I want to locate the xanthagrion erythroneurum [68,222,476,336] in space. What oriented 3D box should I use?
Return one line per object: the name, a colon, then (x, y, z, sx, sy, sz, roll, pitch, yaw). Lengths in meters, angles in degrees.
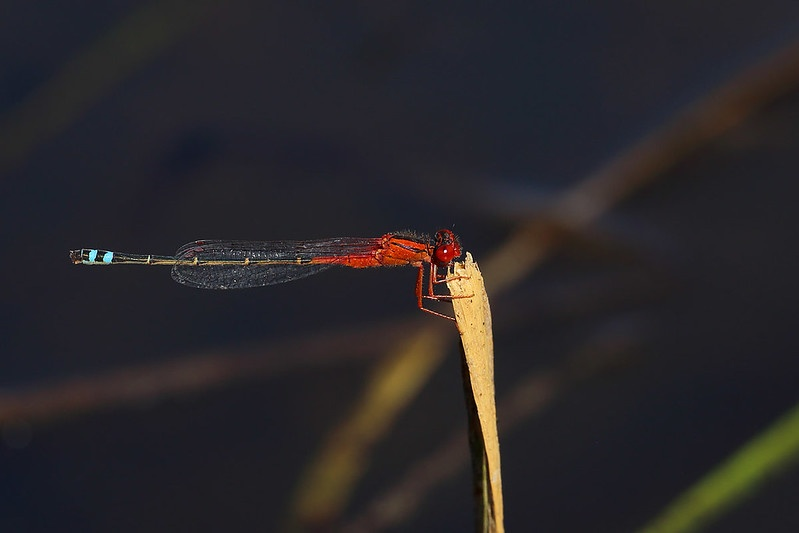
xanthagrion erythroneurum: (-0.949, -0.053, 7.349, 2.888, 0.415, 0.305, -1, 3, 6)
